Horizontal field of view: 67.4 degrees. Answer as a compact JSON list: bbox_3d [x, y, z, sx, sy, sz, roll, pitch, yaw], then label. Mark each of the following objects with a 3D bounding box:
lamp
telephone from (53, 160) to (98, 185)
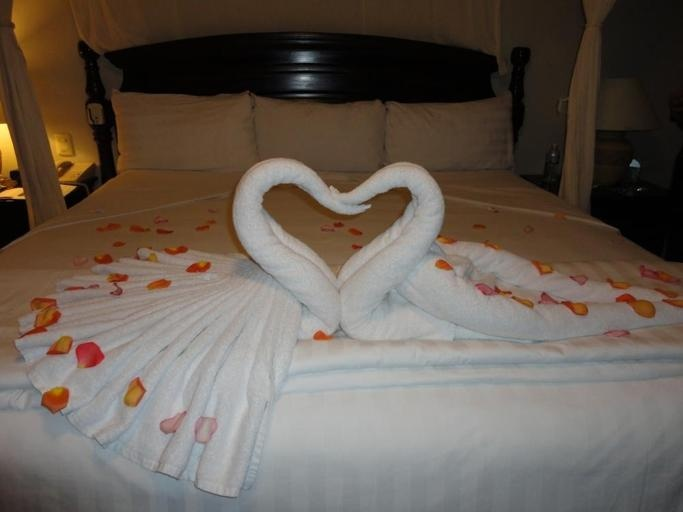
[{"bbox_3d":[1.654,-0.710,3.005,0.382,0.608,0.391,17,13,31],"label":"lamp"},{"bbox_3d":[-1.651,-0.515,3.158,0.212,0.053,0.198,2,36,-9],"label":"telephone"}]
